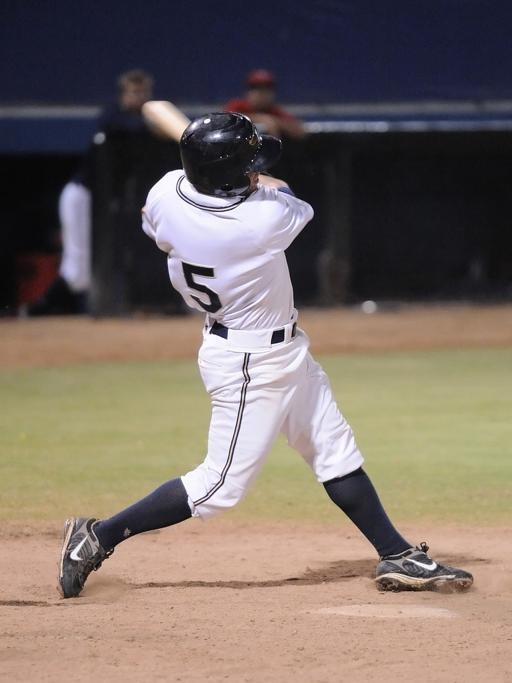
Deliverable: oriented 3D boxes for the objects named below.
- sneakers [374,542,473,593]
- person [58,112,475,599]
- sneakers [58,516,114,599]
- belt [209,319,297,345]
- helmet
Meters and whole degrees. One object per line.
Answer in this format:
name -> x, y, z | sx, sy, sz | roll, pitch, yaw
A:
sneakers -> 0.419, 0.586, 2.553 | 0.299, 0.113, 0.101 | 2, -10, -2
person -> 0.025, 0.112, 2.418 | 1.009, 1.057, 0.226 | 1, 10, 7
sneakers -> -0.438, 0.535, 2.521 | 0.132, 0.222, 0.083 | 3, -23, 11
belt -> -0.010, -0.024, 2.403 | 0.222, 0.053, 0.111 | 0, 7, -1
helmet -> -0.052, -0.426, 2.345 | 0.286, 0.180, 0.171 | 2, 52, 0
